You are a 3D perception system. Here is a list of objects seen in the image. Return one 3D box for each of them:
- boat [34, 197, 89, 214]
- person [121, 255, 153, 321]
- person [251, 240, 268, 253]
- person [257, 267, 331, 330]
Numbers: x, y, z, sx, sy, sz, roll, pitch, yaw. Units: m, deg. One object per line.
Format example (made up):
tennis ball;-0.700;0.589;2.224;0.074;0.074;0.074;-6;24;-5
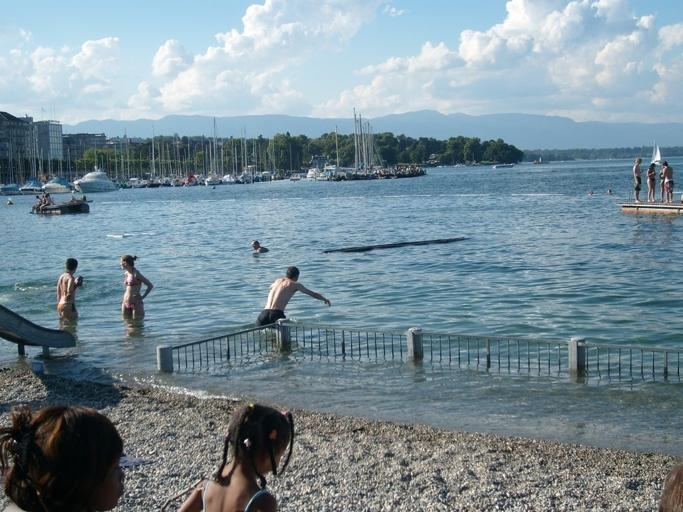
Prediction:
boat;-23.734;-4.212;70.330;4.247;1.322;6.468;-3;6;-17
person;-4.781;0.716;19.222;0.639;1.583;1.564;-2;5;-16
person;-3.166;-0.359;32.591;0.611;0.499;0.870;-1;5;-5
person;-1.154;0.826;16.435;1.089;1.169;0.851;-2;5;-7
